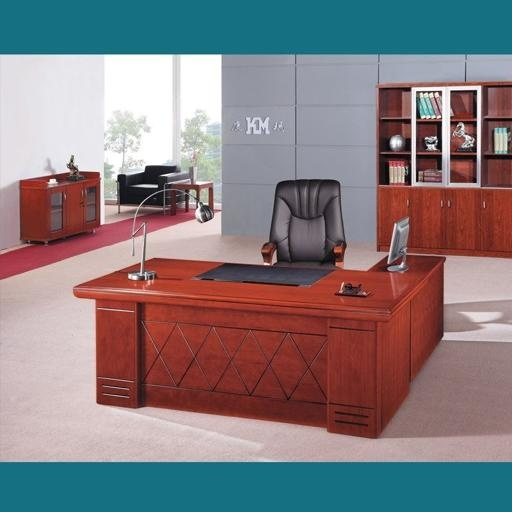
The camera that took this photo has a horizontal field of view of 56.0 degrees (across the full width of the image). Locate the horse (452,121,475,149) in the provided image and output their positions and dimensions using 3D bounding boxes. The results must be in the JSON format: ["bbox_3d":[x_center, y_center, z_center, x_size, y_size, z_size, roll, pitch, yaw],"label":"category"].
[{"bbox_3d":[3.320,-1.930,7.700,0.358,0.446,0.292,2,13,12],"label":"horse"}]

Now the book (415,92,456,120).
[{"bbox_3d":[2.733,-2.403,7.625,0.412,0.438,0.053,3,14,17],"label":"book"}]

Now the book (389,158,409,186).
[{"bbox_3d":[2.342,-1.410,7.987,0.407,0.526,0.383,0,5,8],"label":"book"}]

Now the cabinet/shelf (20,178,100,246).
[{"bbox_3d":[-3.710,-0.835,8.997,0.452,0.834,1.265,5,14,20],"label":"cabinet/shelf"}]

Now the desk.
[{"bbox_3d":[0.173,0.519,4.316,2.335,0.915,2.783,1,6,9],"label":"desk"}]
